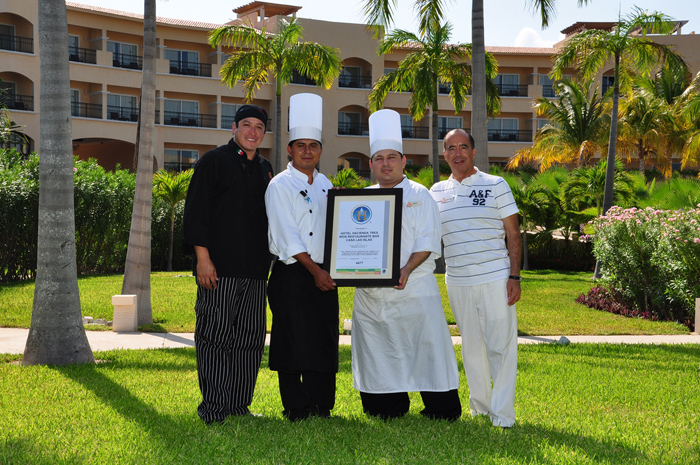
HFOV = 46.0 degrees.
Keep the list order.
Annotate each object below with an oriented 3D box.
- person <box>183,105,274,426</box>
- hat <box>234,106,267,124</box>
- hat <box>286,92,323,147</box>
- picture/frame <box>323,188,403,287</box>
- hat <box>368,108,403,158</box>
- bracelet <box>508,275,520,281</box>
[{"bbox_3d":[-1.670,0.414,11.441,1.171,4.369,0.690,0,6,-13],"label":"person"},{"bbox_3d":[-1.369,-1.667,11.567,0.298,0.192,0.312,2,2,6],"label":"hat"},{"bbox_3d":[-0.626,-1.573,11.704,0.523,0.640,0.555,1,-4,4],"label":"hat"},{"bbox_3d":[0.200,0.098,11.260,1.203,1.671,0.149,1,-10,2],"label":"picture/frame"},{"bbox_3d":[0.489,-1.392,11.835,0.560,0.677,0.570,-3,-9,19],"label":"hat"},{"bbox_3d":[2.330,0.629,11.645,0.142,0.074,0.062,0,6,-12],"label":"bracelet"}]
